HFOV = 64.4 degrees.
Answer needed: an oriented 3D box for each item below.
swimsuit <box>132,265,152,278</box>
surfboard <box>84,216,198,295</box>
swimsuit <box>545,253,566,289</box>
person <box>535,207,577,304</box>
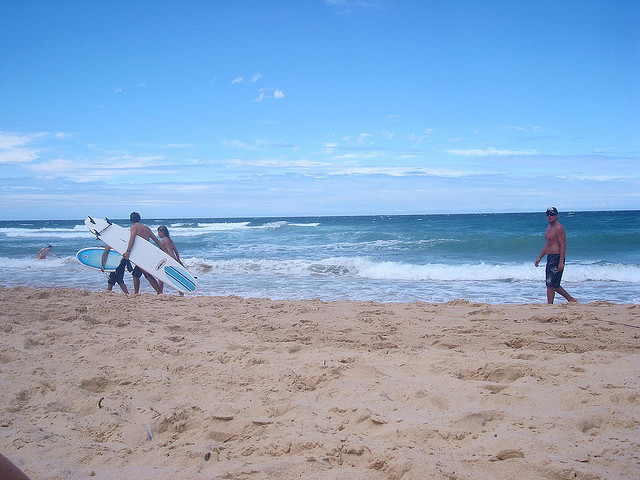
[{"bbox_3d":[-3.331,0.592,9.404,0.251,0.240,0.088,-38,24,4],"label":"swimsuit"},{"bbox_3d":[-3.145,0.253,9.922,2.945,0.596,0.364,38,1,35],"label":"surfboard"},{"bbox_3d":[3.611,0.471,7.808,0.215,0.570,0.295,0,6,21],"label":"swimsuit"},{"bbox_3d":[3.691,0.275,7.922,0.581,1.547,1.624,1,5,24],"label":"person"}]
